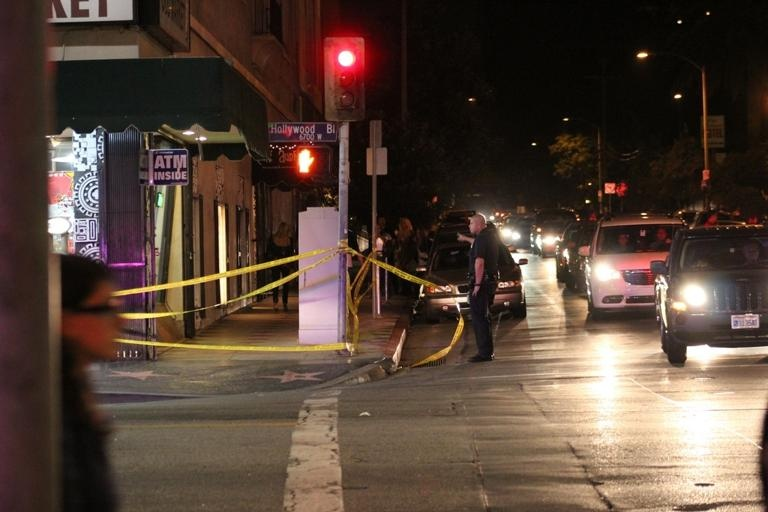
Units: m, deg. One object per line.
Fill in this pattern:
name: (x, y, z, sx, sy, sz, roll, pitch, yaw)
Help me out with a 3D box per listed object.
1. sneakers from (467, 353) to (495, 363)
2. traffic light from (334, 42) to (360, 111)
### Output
sneakers: (1.474, 1.544, 15.027, 0.372, 0.150, 0.132, 1, 3, -5)
traffic light: (-0.531, -2.699, 15.005, 0.344, 0.956, 0.119, -2, 3, -5)
